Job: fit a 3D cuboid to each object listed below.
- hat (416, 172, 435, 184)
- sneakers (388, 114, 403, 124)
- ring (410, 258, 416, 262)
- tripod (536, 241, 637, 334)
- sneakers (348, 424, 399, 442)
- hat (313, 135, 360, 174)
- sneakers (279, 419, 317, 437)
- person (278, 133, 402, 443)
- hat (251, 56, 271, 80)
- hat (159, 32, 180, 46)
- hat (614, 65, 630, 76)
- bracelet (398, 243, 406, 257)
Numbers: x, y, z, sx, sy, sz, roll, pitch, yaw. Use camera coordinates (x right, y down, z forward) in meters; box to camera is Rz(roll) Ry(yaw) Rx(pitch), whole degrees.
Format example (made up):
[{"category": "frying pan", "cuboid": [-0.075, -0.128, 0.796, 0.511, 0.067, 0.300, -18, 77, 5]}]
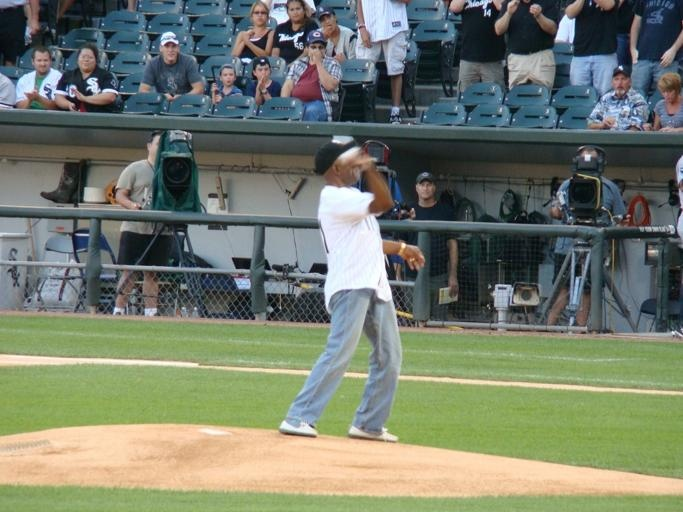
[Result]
[{"category": "hat", "cuboid": [1.161, -1.123, 23.602, 0.192, 0.153, 0.286, -1, -18, 3]}, {"category": "sneakers", "cuboid": [0.800, -2.054, 24.925, 0.209, 0.120, 0.289, 1, 13, -1]}, {"category": "ring", "cuboid": [0.746, 0.024, 17.559, 0.035, 0.035, 0.008, -3, -9, 3]}, {"category": "tripod", "cuboid": [3.135, 0.437, 22.164, 1.086, 1.471, 1.128, 1, -6, 2]}, {"category": "sneakers", "cuboid": [0.338, 1.806, 17.175, 0.485, 0.204, 0.183, 4, -1, -4]}, {"category": "hat", "cuboid": [-0.011, -1.113, 17.174, 0.563, 0.207, 0.427, -41, 3, -9]}, {"category": "sneakers", "cuboid": [-0.416, 1.740, 17.142, 0.402, 0.182, 0.150, 5, -2, -6]}, {"category": "person", "cuboid": [0.084, 0.332, 17.098, 1.065, 3.037, 0.498, 1, -4, 1]}, {"category": "hat", "cuboid": [-1.118, -2.908, 25.190, 0.259, 0.345, 0.360, -1, -16, -14]}, {"category": "hat", "cuboid": [-2.468, -3.242, 24.824, 0.256, 0.249, 0.419, 0, 3, -8]}, {"category": "hat", "cuboid": [3.845, -2.581, 23.316, 0.216, 0.187, 0.346, 1, -4, 9]}, {"category": "bracelet", "cuboid": [0.635, -0.097, 17.527, 0.030, 0.116, 0.110, 13, 39, -1]}]
